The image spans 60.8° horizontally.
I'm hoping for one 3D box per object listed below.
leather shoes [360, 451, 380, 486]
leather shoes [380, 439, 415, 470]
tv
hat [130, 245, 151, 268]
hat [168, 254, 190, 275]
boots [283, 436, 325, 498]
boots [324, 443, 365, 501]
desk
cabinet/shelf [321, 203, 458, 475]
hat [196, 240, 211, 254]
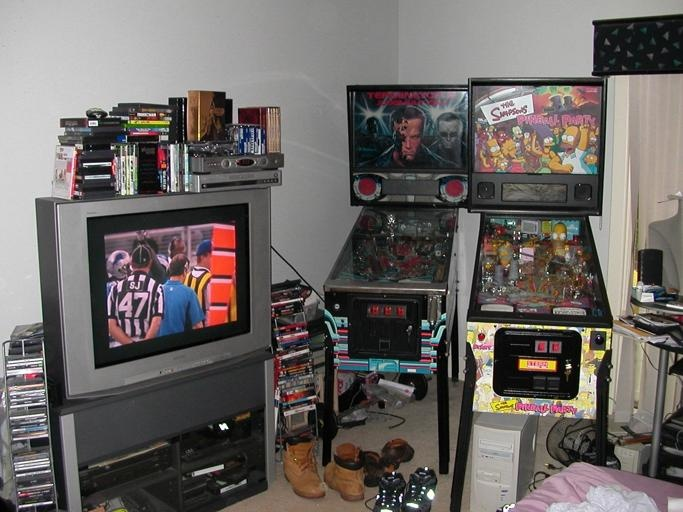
[{"bbox_3d":[0.173,1.241,3.401,0.130,0.183,0.177,-8,-19,21],"label":"leather shoes"},{"bbox_3d":[0.328,1.165,3.482,0.179,0.144,0.178,-40,-15,-1],"label":"leather shoes"},{"bbox_3d":[-0.928,0.133,3.013,1.076,0.945,0.384,-8,13,-41],"label":"tv"},{"bbox_3d":[-0.942,-0.002,2.742,0.067,0.059,0.104,4,48,-16],"label":"hat"},{"bbox_3d":[-0.798,0.044,2.847,0.073,0.096,0.097,12,51,-13],"label":"hat"},{"bbox_3d":[-0.221,1.191,3.309,0.135,0.198,0.415,-2,3,-17],"label":"boots"},{"bbox_3d":[0.009,1.191,3.303,0.144,0.246,0.342,-2,12,-18],"label":"boots"},{"bbox_3d":[1.595,0.768,3.102,0.306,0.852,0.360,3,11,25],"label":"desk"},{"bbox_3d":[0.376,0.428,3.841,0.798,1.378,1.157,-1,17,8],"label":"cabinet/shelf"},{"bbox_3d":[-0.691,-0.043,2.927,0.050,0.076,0.038,6,-22,38],"label":"hat"}]
